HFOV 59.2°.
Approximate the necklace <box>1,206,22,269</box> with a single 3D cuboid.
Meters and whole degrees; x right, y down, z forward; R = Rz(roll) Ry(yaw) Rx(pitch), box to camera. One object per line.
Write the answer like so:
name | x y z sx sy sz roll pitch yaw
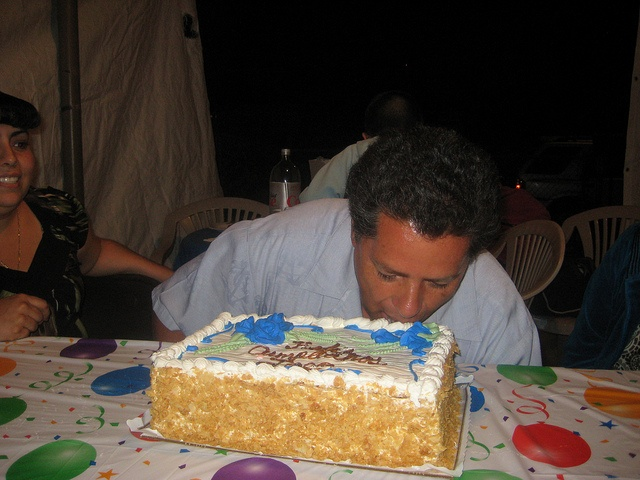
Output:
necklace | -1.650 -0.004 3.020 0.097 0.248 0.118 6 1 -30
